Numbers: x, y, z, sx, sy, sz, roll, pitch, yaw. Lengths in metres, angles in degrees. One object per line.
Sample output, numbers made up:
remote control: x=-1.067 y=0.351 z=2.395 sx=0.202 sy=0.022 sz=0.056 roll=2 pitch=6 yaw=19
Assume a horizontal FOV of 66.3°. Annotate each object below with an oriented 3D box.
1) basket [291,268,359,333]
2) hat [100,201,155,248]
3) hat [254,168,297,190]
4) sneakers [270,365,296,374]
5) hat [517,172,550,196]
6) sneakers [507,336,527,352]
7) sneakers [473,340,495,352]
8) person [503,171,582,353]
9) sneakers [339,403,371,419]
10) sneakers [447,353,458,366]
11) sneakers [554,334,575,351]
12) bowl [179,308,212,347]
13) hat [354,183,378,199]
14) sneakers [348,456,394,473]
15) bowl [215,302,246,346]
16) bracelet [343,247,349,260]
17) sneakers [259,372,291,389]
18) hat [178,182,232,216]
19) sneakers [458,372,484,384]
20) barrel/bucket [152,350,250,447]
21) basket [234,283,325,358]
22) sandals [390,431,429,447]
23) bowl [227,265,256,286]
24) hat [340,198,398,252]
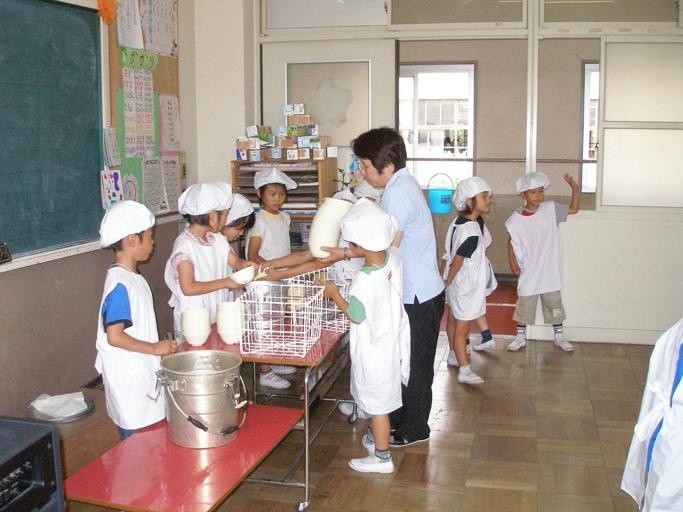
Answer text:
basket: x=-0.085 y=0.188 z=2.624 sx=0.277 sy=0.207 sz=0.294 roll=4 pitch=12 yaw=15
hat: x=-0.860 y=-0.127 z=2.100 sx=0.194 sy=0.185 sz=0.131 roll=-6 pitch=12 yaw=-26
hat: x=-0.442 y=-0.509 z=3.438 sx=0.222 sy=0.119 sz=0.233 roll=-1 pitch=9 yaw=0
sneakers: x=-0.419 y=0.818 z=3.819 sx=0.177 sy=0.090 sz=0.067 roll=0 pitch=12 yaw=4
hat: x=1.557 y=-0.607 z=4.214 sx=0.175 sy=0.070 sz=0.185 roll=0 pitch=19 yaw=36
sneakers: x=1.458 y=0.728 z=4.342 sx=0.077 sy=0.109 sz=0.237 roll=-2 pitch=-1 yaw=31
sneakers: x=1.171 y=0.736 z=4.326 sx=0.214 sy=0.096 sz=0.078 roll=-9 pitch=6 yaw=41
person: x=1.651 y=0.042 z=4.301 sx=0.599 sy=1.446 sz=0.398 roll=1 pitch=11 yaw=9
sneakers: x=0.065 y=0.955 z=3.248 sx=0.131 sy=0.051 sz=0.205 roll=4 pitch=1 yaw=6
sneakers: x=0.856 y=0.788 z=4.030 sx=0.107 sy=0.111 sz=0.051 roll=4 pitch=12 yaw=24
sneakers: x=1.852 y=0.717 z=4.365 sx=0.070 sy=0.091 sz=0.205 roll=-8 pitch=5 yaw=-9
bowl: x=-0.590 y=0.298 z=2.233 sx=0.135 sy=0.173 sz=0.142 roll=0 pitch=1 yaw=0
hat: x=0.177 y=-0.465 z=3.721 sx=0.184 sy=0.073 sz=0.193 roll=13 pitch=21 yaw=22
sneakers: x=0.162 y=1.064 z=2.656 sx=0.201 sy=0.087 sz=0.096 roll=2 pitch=-3 yaw=7
bowl: x=-0.472 y=0.282 z=2.222 sx=0.152 sy=0.206 sz=0.157 roll=0 pitch=1 yaw=0
bracelet: x=0.029 y=-0.015 z=2.556 sx=0.020 sy=0.046 sz=0.032 roll=-4 pitch=-7 yaw=5
sneakers: x=-0.461 y=0.859 z=3.653 sx=0.192 sy=0.093 sz=0.101 roll=3 pitch=11 yaw=2
hat: x=-0.648 y=-0.286 z=2.469 sx=0.176 sy=0.076 sz=0.186 roll=0 pitch=34 yaw=14
sneakers: x=0.929 y=0.854 z=3.695 sx=0.142 sy=0.063 sz=0.079 roll=0 pitch=7 yaw=1
barrel/bucket: x=-0.504 y=0.457 z=1.865 sx=0.295 sy=0.242 sz=0.303 roll=1 pitch=16 yaw=0
basket: x=-0.265 y=0.292 z=2.277 sx=0.295 sy=0.209 sz=0.316 roll=3 pitch=10 yaw=4
sandals: x=0.383 y=1.016 z=2.972 sx=0.219 sy=0.073 sz=0.087 roll=1 pitch=4 yaw=-14
bowl: x=-0.441 y=0.083 z=2.341 sx=0.111 sy=0.093 sz=0.094 roll=-3 pitch=12 yaw=-15
hat: x=0.128 y=-0.139 z=2.389 sx=0.252 sy=0.244 sz=0.215 roll=-1 pitch=11 yaw=-1
